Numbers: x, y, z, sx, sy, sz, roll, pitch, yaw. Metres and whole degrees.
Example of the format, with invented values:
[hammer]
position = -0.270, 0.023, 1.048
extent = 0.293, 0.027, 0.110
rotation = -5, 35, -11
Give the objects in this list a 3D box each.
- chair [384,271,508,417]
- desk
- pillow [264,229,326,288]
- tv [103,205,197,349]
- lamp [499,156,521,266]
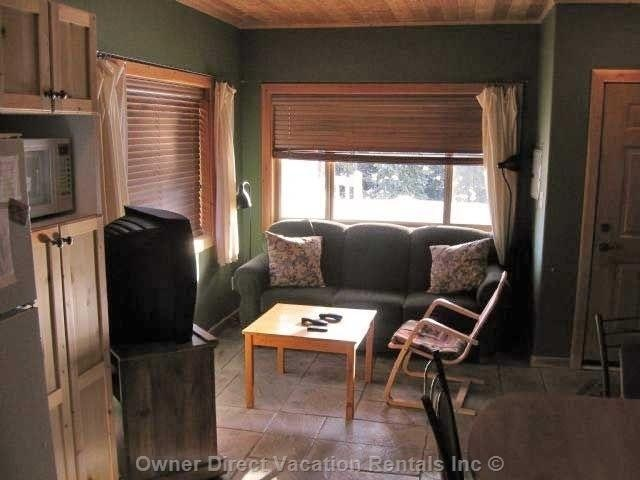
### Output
[chair]
position = 0.998, 0.777, 4.063
extent = 0.944, 0.966, 0.843
rotation = 1, 8, 0
[desk]
position = -0.044, 0.824, 4.112
extent = 0.842, 0.622, 0.822
rotation = 2, 5, 16
[pillow]
position = -0.250, 0.211, 5.108
extent = 0.510, 0.530, 0.193
rotation = 3, -21, -11
[tv]
position = -1.015, 0.107, 3.206
extent = 0.632, 0.802, 0.785
rotation = -2, 15, -31
[lamp]
position = 1.856, -0.308, 5.023
extent = 0.226, 1.091, 0.247
rotation = 1, 12, 6
